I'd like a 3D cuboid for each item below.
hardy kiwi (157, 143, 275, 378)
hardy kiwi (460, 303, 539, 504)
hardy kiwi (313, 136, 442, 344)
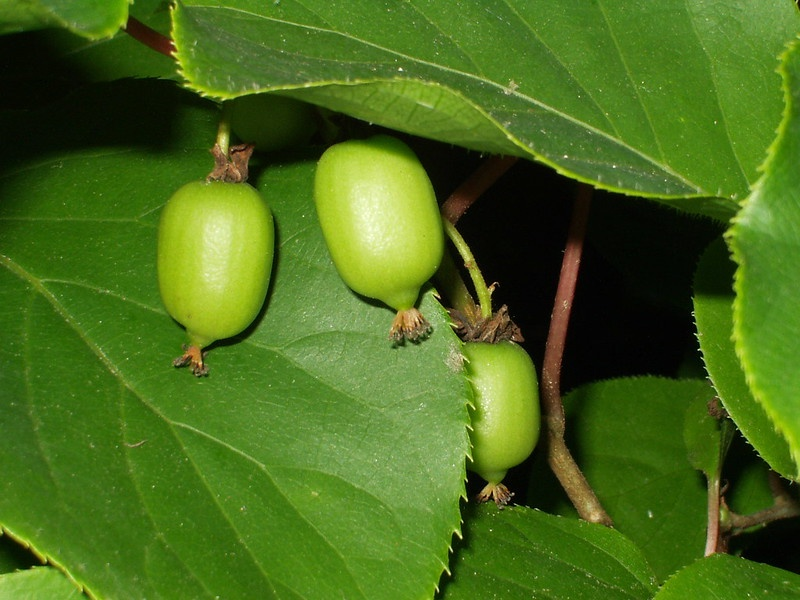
[{"bbox_3d":[-0.232,-0.038,1.123,0.150,0.279,0.136,-21,44,-36],"label":"hardy kiwi"},{"bbox_3d":[0.139,0.143,1.246,0.113,0.230,0.138,4,35,-7],"label":"hardy kiwi"},{"bbox_3d":[-0.024,-0.073,1.078,0.132,0.224,0.103,-12,4,-1],"label":"hardy kiwi"}]
